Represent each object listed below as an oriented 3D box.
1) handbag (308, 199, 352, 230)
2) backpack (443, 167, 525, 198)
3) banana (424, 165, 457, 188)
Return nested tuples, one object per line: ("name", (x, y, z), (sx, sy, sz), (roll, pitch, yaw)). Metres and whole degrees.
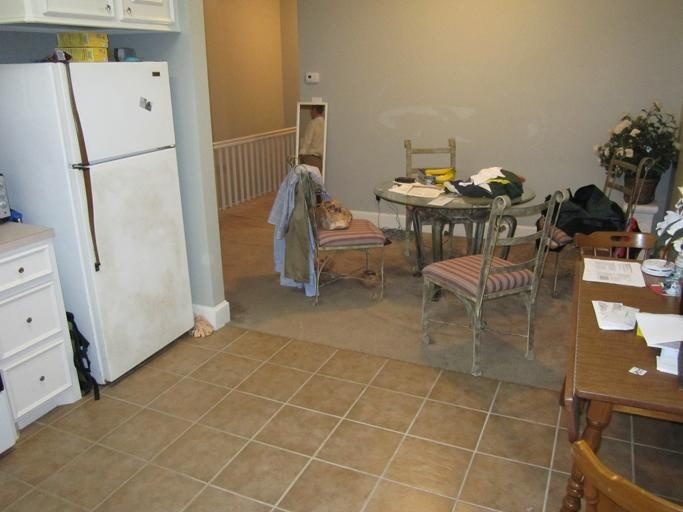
("handbag", (-0.085, -0.324, 4.298), (0.286, 0.219, 0.230), (1, 21, -36))
("backpack", (1.190, -0.587, 4.182), (0.474, 0.199, 0.484), (5, 16, 26))
("banana", (0.890, -0.717, 4.663), (0.373, 0.178, 0.134), (4, 44, -5))
